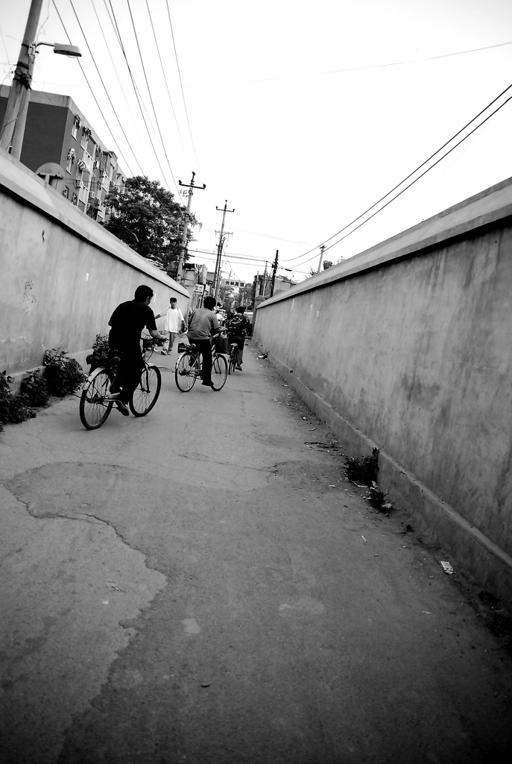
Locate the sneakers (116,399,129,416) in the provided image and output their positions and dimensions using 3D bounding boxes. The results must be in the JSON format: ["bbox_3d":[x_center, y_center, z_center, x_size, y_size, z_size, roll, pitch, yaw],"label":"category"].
[{"bbox_3d":[-1.938,0.363,7.045,0.081,0.304,0.122,-13,52,-14],"label":"sneakers"}]

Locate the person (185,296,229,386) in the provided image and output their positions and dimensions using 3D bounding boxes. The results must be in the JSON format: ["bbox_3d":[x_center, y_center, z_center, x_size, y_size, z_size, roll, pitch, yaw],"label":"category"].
[{"bbox_3d":[-1.180,-0.964,11.014,0.637,2.058,1.090,5,0,6],"label":"person"}]

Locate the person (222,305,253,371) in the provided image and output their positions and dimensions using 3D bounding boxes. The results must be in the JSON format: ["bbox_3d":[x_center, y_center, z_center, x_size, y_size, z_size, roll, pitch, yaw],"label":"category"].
[{"bbox_3d":[-0.807,-1.414,15.880,0.898,1.869,2.560,14,4,-13],"label":"person"}]

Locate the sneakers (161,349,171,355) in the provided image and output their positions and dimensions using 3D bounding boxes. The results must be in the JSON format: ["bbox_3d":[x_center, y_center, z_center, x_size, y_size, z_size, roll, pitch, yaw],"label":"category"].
[{"bbox_3d":[-3.363,-1.112,17.902,0.137,0.219,0.376,-3,5,-42],"label":"sneakers"}]

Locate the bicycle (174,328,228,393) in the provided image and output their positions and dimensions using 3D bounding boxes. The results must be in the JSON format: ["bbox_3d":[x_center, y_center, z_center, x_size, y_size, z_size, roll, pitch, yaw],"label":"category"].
[{"bbox_3d":[-1.380,-0.490,11.236,0.725,1.340,1.875,6,20,19],"label":"bicycle"}]
